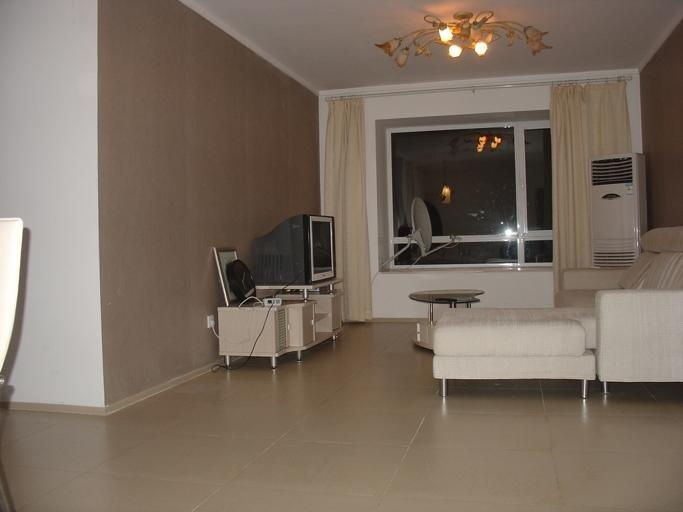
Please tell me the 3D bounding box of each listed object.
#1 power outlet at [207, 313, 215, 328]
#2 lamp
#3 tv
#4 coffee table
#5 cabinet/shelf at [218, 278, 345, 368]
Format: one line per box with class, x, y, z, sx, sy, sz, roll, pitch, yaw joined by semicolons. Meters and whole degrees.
power outlet;-1.086;0.531;4.451;0.046;0.121;0.119;-1;-1;11
lamp;1.126;-1.864;4.524;0.948;0.237;0.952;-3;1;-34
tv;-0.468;-0.032;5.221;0.632;0.646;0.679;-1;2;11
coffee table;0.952;0.499;5.075;0.587;0.411;0.621;-1;0;-1
cabinet/shelf;-0.507;0.581;4.852;0.570;0.608;1.231;0;4;31
